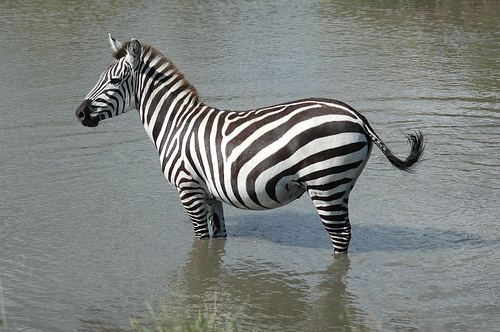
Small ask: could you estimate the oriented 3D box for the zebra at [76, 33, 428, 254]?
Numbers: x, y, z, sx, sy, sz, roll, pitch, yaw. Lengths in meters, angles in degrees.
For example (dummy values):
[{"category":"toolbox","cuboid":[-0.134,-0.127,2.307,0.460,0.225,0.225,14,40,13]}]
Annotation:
[{"category":"zebra","cuboid":[0.183,-0.067,9.479,5.799,1.441,2.784,7,114,34]}]
